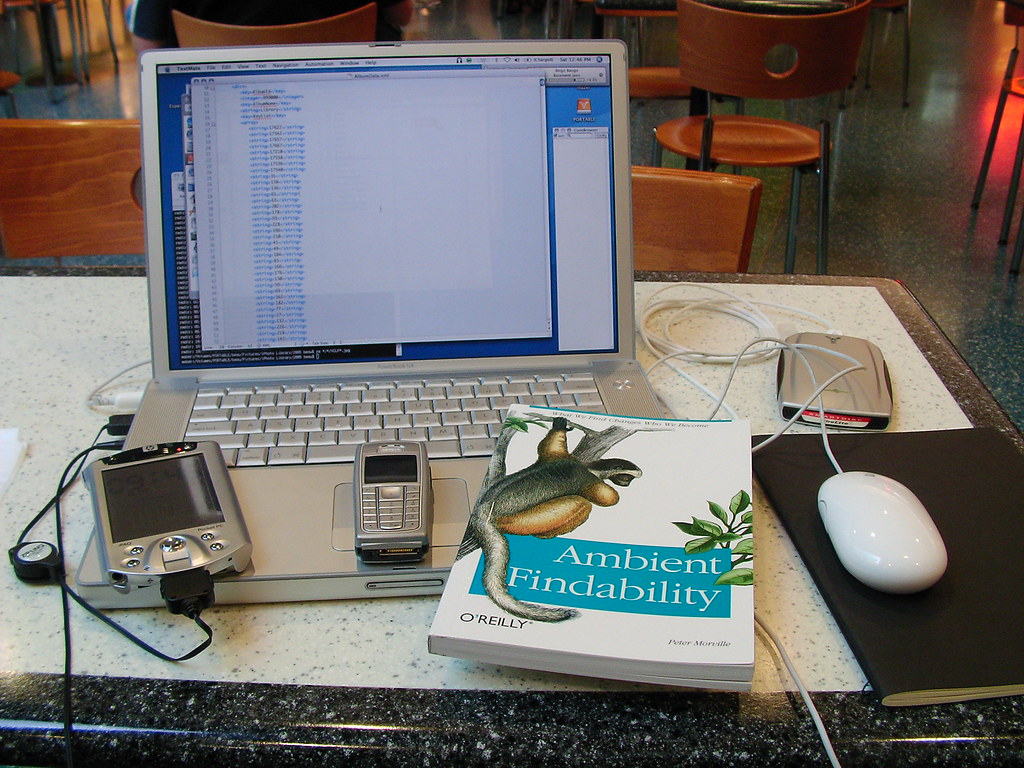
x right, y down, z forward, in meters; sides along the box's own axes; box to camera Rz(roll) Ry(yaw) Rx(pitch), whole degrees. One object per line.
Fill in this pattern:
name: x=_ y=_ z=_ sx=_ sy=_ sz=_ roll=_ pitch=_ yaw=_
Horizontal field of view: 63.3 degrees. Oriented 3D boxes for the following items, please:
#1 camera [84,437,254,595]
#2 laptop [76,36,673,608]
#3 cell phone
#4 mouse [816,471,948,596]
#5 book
camera: x=-0.279 y=0.099 z=0.667 sx=0.109 sy=0.035 sz=0.126 roll=-16 pitch=53 yaw=-22
laptop: x=-0.116 y=-0.035 z=0.927 sx=0.668 sy=0.344 sz=0.499 roll=-3 pitch=42 yaw=-3
cell phone: x=-0.105 y=0.093 z=0.658 sx=0.058 sy=0.027 sz=0.089 roll=-2 pitch=54 yaw=-4
mouse: x=0.305 y=0.101 z=0.678 sx=0.091 sy=0.042 sz=0.130 roll=-17 pitch=37 yaw=10
book: x=0.060 y=0.121 z=0.640 sx=0.232 sy=0.045 sz=0.185 roll=2 pitch=40 yaw=5
